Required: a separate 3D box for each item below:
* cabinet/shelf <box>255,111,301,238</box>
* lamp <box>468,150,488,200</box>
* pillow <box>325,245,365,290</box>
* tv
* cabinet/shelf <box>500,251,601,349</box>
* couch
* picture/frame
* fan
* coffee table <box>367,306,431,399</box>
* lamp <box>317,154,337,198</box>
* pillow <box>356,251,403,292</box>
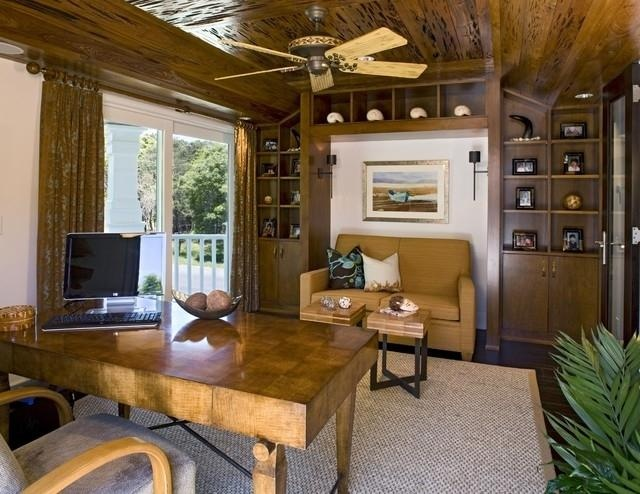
[{"bbox_3d":[-0.558,-0.922,6.371,0.580,1.613,0.665,-1,12,-7],"label":"cabinet/shelf"},{"bbox_3d":[1.753,-0.808,5.399,0.193,0.556,0.266,4,12,17],"label":"lamp"},{"bbox_3d":[0.289,0.244,5.430,0.522,0.485,0.182,-2,-14,5],"label":"pillow"},{"bbox_3d":[-1.230,0.149,2.885,0.523,0.402,0.211,1,-5,-16],"label":"tv"},{"bbox_3d":[2.318,0.500,4.793,1.101,0.923,0.408,0,-1,19],"label":"cabinet/shelf"},{"bbox_3d":[0.774,0.462,5.289,1.796,1.006,0.902,4,12,19],"label":"couch"},{"bbox_3d":[1.064,-0.679,5.774,0.906,0.558,0.017,1,2,22],"label":"picture/frame"},{"bbox_3d":[0.120,-1.160,2.895,0.936,0.305,0.685,6,12,27],"label":"fan"},{"bbox_3d":[0.668,0.864,3.986,0.585,0.577,0.566,2,0,13],"label":"coffee table"},{"bbox_3d":[0.086,-0.881,6.041,0.232,0.563,0.293,1,12,2],"label":"lamp"},{"bbox_3d":[0.648,0.286,5.270,0.461,0.401,0.175,1,-17,-5],"label":"pillow"}]
